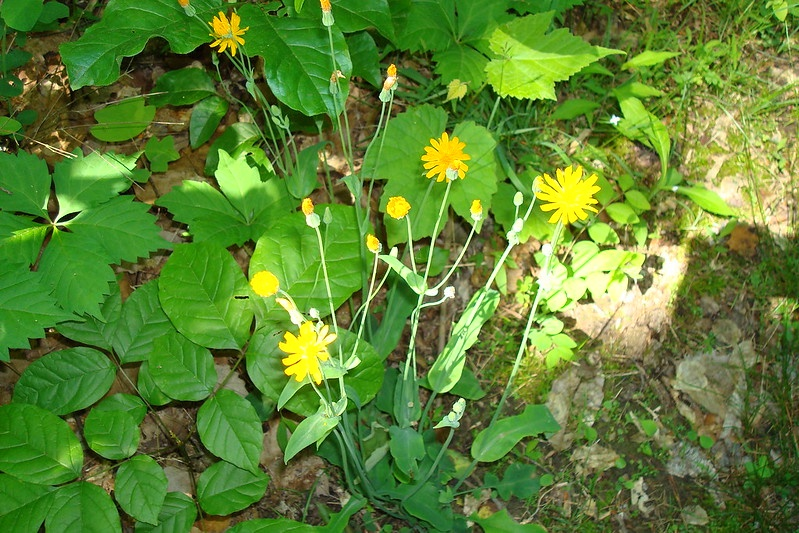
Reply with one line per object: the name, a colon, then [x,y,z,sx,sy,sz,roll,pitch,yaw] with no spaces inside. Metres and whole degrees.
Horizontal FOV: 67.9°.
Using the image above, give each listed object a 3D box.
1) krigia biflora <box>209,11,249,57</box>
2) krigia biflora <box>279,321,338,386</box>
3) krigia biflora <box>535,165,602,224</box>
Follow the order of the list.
krigia biflora: [-0.753,-1.070,2.630,0.162,0.076,0.172,-3,4,-34]
krigia biflora: [-0.340,0.321,2.279,0.293,0.104,0.330,20,11,-3]
krigia biflora: [0.640,-0.290,2.379,0.224,0.102,0.225,-3,32,-20]
